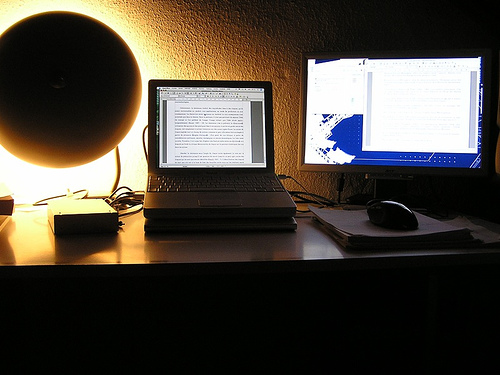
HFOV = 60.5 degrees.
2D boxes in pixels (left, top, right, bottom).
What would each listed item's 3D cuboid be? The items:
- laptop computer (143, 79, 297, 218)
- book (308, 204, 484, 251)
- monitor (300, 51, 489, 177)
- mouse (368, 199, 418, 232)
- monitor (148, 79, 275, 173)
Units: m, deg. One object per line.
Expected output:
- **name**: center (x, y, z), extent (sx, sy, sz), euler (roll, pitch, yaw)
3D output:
- **laptop computer**: center (-0.109, -0.115, 1.262), extent (0.460, 0.329, 0.404), euler (-1, 20, -7)
- **book**: center (0.369, 0.098, 1.128), extent (0.392, 0.062, 0.249), euler (-1, 8, -4)
- **monitor**: center (0.464, -0.233, 1.310), extent (0.393, 0.281, 0.030), euler (1, -1, 7)
- **mouse**: center (0.381, 0.070, 1.143), extent (0.110, 0.068, 0.190), euler (4, 0, -19)
- **monitor**: center (-0.132, -0.177, 1.303), extent (0.293, 0.212, 0.011), euler (0, -8, -4)
